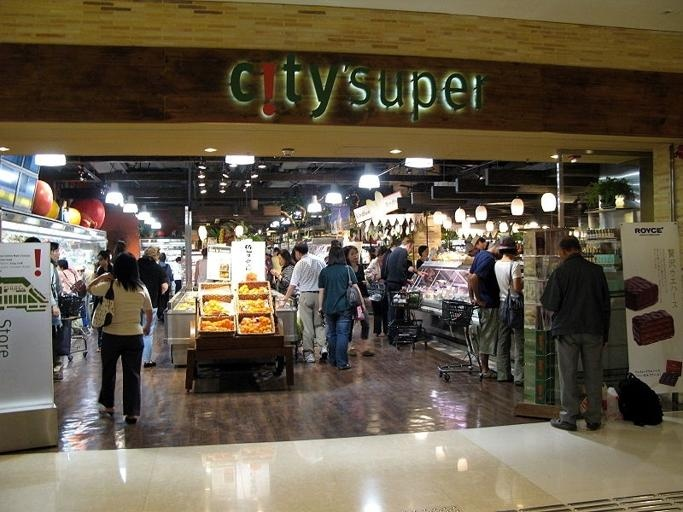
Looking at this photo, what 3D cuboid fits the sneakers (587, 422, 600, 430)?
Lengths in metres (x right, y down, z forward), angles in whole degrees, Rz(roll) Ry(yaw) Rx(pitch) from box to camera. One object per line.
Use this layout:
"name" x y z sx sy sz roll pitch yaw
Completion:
"sneakers" 2.661 1.782 5.646 0.146 0.062 0.064 14 -17 -43

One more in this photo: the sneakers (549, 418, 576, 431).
"sneakers" 2.370 1.775 5.725 0.288 0.107 0.200 -2 -2 43

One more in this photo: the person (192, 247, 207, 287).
"person" -2.766 0.235 10.540 0.192 0.696 1.269 1 -2 -16

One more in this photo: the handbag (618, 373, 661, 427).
"handbag" 3.325 1.567 5.920 0.442 0.512 0.283 0 -2 -4

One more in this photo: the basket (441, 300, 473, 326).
"basket" 1.682 0.843 7.830 0.422 0.303 0.376 4 4 5

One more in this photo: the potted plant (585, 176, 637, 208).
"potted plant" 3.998 -0.953 7.989 0.462 0.330 0.466 -7 10 -7

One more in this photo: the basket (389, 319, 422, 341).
"basket" 1.235 1.425 10.436 0.449 0.428 0.611 -1 1 -3

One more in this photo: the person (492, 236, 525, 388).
"person" 2.315 0.737 7.327 0.370 1.996 0.954 0 -2 4

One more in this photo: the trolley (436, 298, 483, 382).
"trolley" 1.781 1.226 7.909 0.874 1.085 0.819 -2 -8 31

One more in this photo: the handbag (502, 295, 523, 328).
"handbag" 2.270 0.716 7.113 0.264 0.475 0.132 -1 -2 21

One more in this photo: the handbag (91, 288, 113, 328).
"handbag" -2.653 0.578 5.976 0.202 0.442 0.215 1 -2 -22

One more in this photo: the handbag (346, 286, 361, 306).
"handbag" 0.208 0.611 8.414 0.242 0.465 0.387 -3 -4 3

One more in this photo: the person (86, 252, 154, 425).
"person" -2.494 0.907 6.068 0.611 1.876 0.353 0 -2 -14

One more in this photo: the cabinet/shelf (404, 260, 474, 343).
"cabinet/shelf" 2.027 0.716 10.361 1.250 1.210 1.786 -1 2 -18

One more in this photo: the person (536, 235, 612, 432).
"person" 2.519 0.814 5.753 0.674 2.018 0.295 -1 -2 20

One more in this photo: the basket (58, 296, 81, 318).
"basket" -4.288 0.816 8.611 0.342 0.412 0.315 4 -8 -18

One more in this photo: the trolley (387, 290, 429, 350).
"trolley" 1.206 1.169 10.280 0.843 0.969 0.666 0 -3 16

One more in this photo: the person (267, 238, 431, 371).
"person" -0.249 0.757 8.503 0.933 1.959 1.170 2 -3 -39
